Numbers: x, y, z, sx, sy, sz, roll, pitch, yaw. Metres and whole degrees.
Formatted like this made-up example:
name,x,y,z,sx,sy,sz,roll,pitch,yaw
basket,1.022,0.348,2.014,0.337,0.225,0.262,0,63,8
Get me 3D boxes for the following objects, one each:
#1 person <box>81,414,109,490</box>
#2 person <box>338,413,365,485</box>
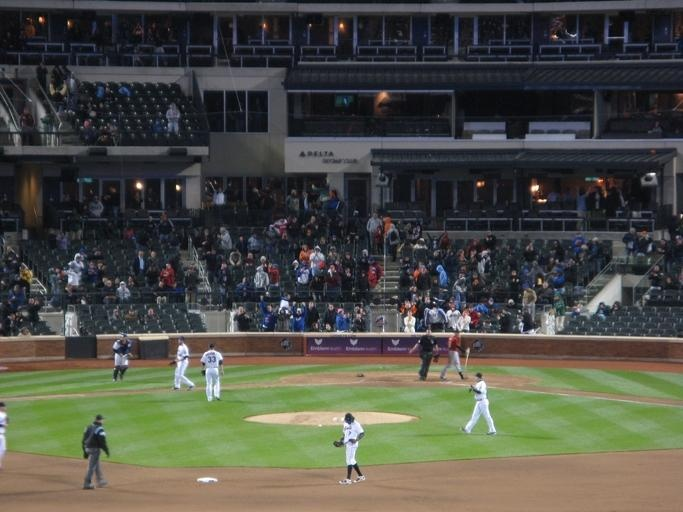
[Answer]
name,x,y,z,sx,sy,sz,roll,pitch,yaw
person,-10.621,8.442,78.436,1.015,3.052,1.491,6,5,-24
person,0.455,8.322,78.513,0.970,3.075,1.360,3,6,24
